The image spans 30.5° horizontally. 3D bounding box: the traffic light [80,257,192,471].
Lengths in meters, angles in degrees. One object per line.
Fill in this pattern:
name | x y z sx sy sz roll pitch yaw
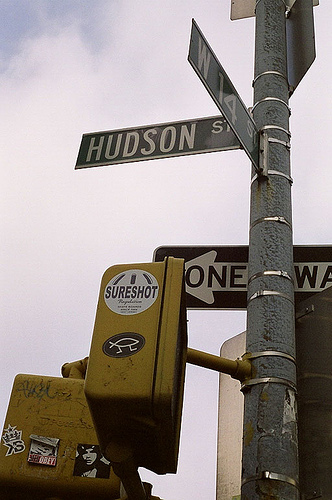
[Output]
traffic light | -0.082 0.314 1.749 0.274 0.563 0.385 7 -30 0
